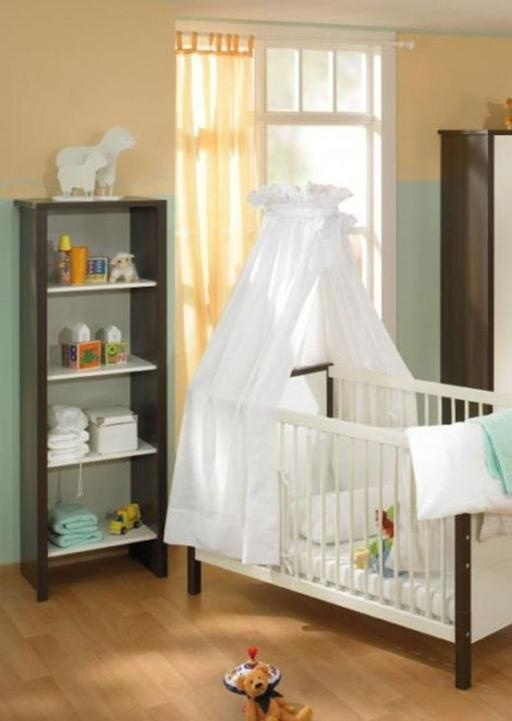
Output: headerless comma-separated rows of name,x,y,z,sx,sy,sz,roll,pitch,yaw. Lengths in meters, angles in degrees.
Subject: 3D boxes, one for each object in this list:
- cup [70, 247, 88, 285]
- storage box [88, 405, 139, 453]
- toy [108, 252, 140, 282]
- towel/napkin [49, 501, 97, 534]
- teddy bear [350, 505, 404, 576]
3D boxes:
cup,-0.625,-0.331,2.457,0.056,0.129,0.037,-1,1,-25
storage box,-0.531,0.268,2.610,0.138,0.145,0.152,-3,6,-28
toy,-0.494,-0.340,2.582,0.077,0.103,0.121,-1,0,-6
towel/napkin,-0.686,0.586,2.599,0.096,0.052,0.109,0,5,-28
teddy bear,0.361,0.524,2.041,0.104,0.159,0.134,7,-10,18
